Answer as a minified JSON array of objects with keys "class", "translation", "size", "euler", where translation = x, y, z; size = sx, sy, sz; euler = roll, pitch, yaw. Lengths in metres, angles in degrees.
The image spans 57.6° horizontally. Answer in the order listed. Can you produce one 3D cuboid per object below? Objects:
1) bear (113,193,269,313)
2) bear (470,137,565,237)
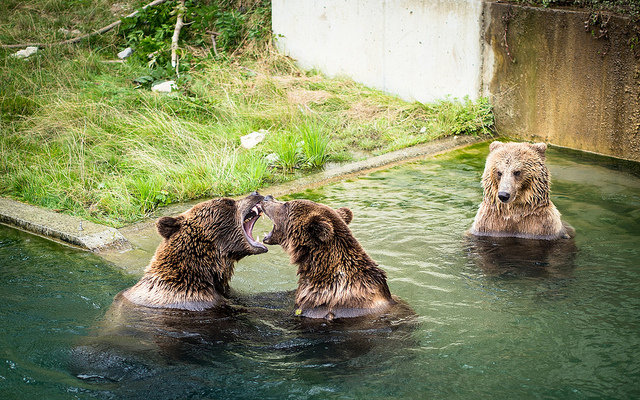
[{"class":"bear","translation":[-1.439,0.570,7.409],"size":[1.945,1.241,1.118],"euler":[-29,9,-22]},{"class":"bear","translation":[2.841,-0.128,8.421],"size":[1.495,1.345,1.329],"euler":[3,9,32]}]
